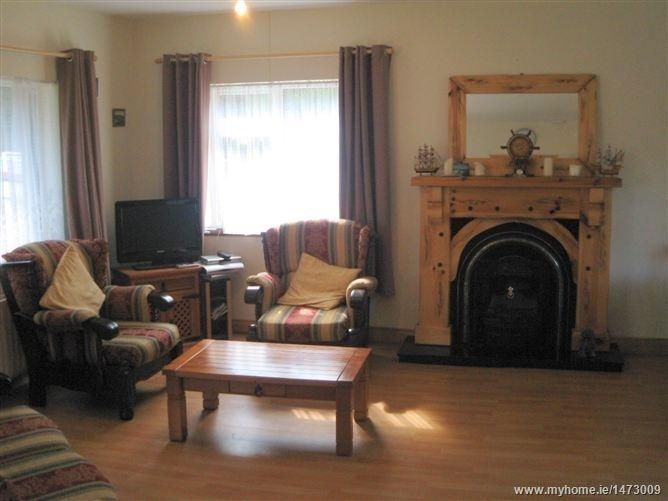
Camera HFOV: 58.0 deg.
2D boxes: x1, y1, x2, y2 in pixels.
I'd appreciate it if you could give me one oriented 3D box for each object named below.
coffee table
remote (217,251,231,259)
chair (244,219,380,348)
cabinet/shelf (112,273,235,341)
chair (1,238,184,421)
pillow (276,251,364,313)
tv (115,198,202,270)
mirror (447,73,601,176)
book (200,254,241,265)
[{"bbox_3d":[-0.435,0.967,4.092,1.305,0.554,0.568,2,8,9],"label":"coffee table"},{"bbox_3d":[-1.038,0.050,5.680,0.086,0.027,0.091,17,-1,-24],"label":"remote"},{"bbox_3d":[-0.210,0.277,5.141,1.078,0.955,0.933,2,12,11],"label":"chair"},{"bbox_3d":[-1.400,0.460,5.111,0.617,0.552,0.250,-4,5,-37],"label":"cabinet/shelf"},{"bbox_3d":[-1.805,0.517,4.785,1.375,1.283,1.133,5,11,11],"label":"chair"},{"bbox_3d":[-0.142,0.240,5.309,0.474,0.475,0.107,-7,50,5],"label":"pillow"},{"bbox_3d":[-1.625,-0.158,5.514,0.672,0.536,0.150,-2,3,-19],"label":"tv"},{"bbox_3d":[1.695,-1.100,5.204,0.978,0.643,0.040,0,-1,5],"label":"mirror"},{"bbox_3d":[-1.050,0.084,5.674,0.414,0.079,0.256,-2,8,-24],"label":"book"}]
